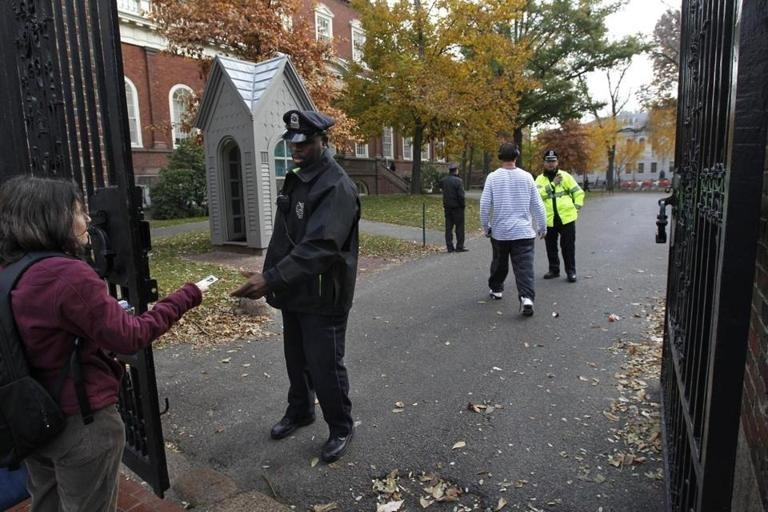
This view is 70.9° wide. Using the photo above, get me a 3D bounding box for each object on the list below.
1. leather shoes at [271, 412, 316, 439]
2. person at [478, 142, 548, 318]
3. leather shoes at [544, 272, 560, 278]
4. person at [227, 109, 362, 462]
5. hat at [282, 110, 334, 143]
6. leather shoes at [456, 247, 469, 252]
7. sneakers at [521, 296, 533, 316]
[{"bbox_3d":[-0.860,1.556,4.994,0.446,0.188,0.146,1,2,-43],"label":"leather shoes"},{"bbox_3d":[1.929,-0.472,8.148,0.942,2.449,1.497,0,14,12],"label":"person"},{"bbox_3d":[3.026,0.333,9.831,0.321,0.141,0.112,0,1,-16],"label":"leather shoes"},{"bbox_3d":[-0.644,0.221,4.609,0.788,2.874,1.027,6,16,31],"label":"person"},{"bbox_3d":[-0.626,-1.133,4.617,0.301,0.177,0.364,15,23,28],"label":"hat"},{"bbox_3d":[1.993,-0.182,13.757,0.259,0.113,0.118,-4,9,2],"label":"leather shoes"},{"bbox_3d":[2.011,0.695,7.627,0.180,0.250,0.202,1,14,14],"label":"sneakers"}]
